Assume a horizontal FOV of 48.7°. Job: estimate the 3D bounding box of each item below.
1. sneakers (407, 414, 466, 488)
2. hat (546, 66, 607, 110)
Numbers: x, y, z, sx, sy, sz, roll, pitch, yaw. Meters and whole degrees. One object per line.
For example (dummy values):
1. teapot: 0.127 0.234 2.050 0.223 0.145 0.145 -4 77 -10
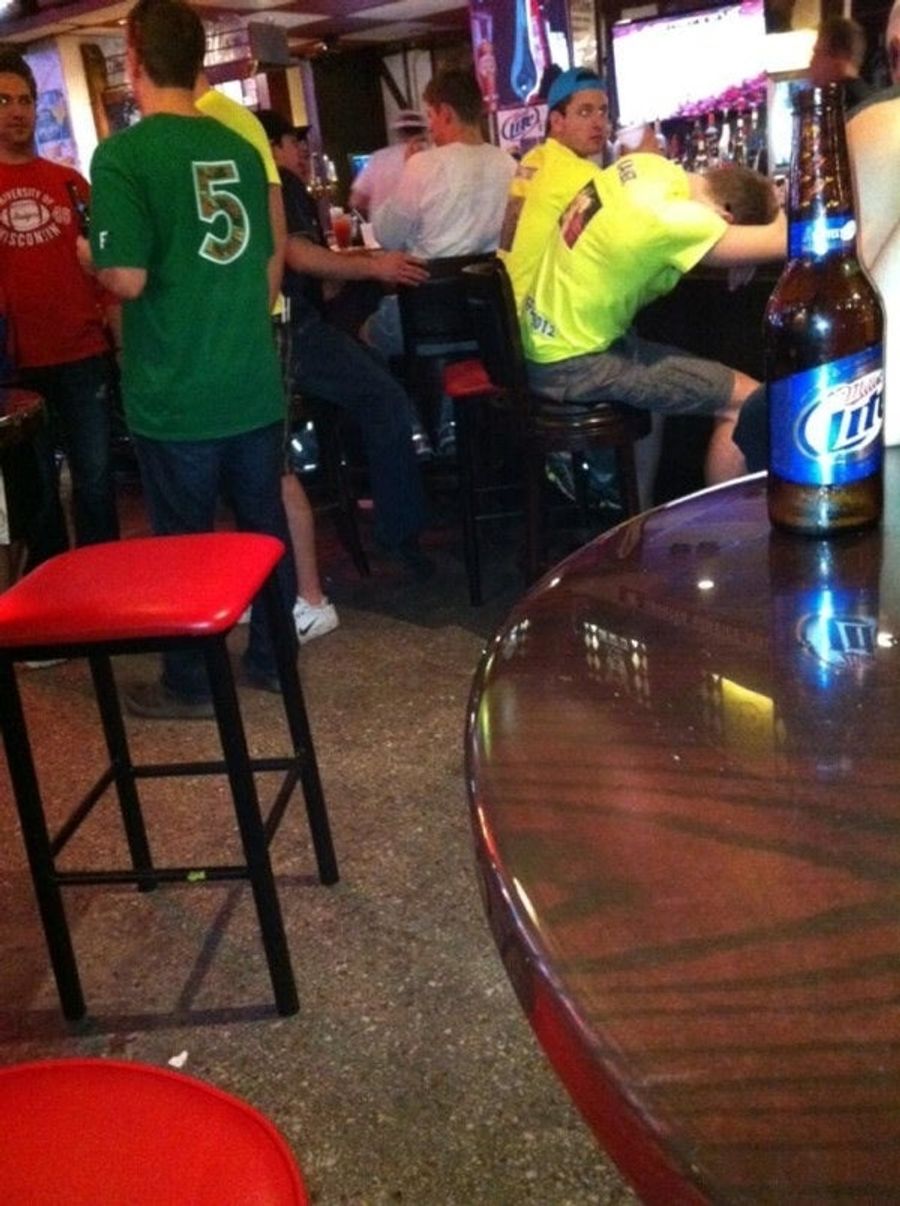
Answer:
1. sneakers: -0.060 -0.638 4.067 0.313 0.245 0.432 -8 -3 3
2. hat: 0.425 -1.724 3.344 0.180 0.121 0.131 -8 27 3
